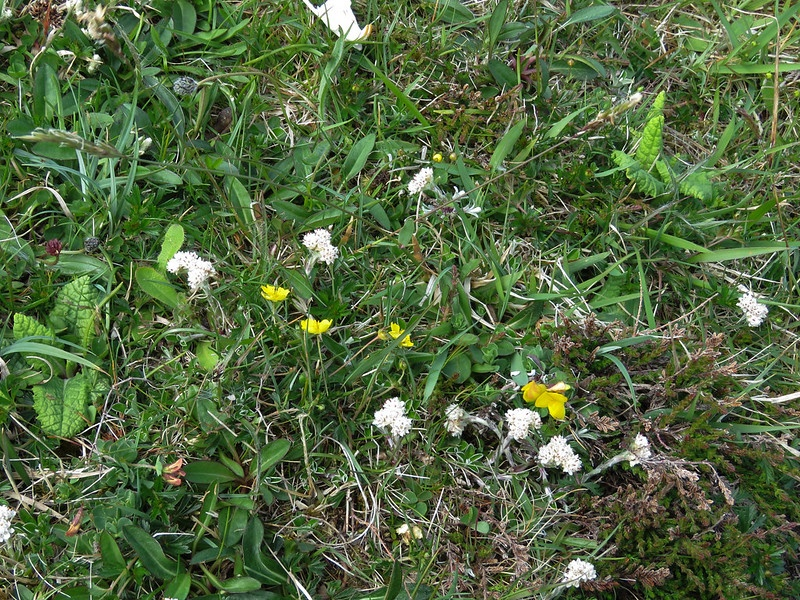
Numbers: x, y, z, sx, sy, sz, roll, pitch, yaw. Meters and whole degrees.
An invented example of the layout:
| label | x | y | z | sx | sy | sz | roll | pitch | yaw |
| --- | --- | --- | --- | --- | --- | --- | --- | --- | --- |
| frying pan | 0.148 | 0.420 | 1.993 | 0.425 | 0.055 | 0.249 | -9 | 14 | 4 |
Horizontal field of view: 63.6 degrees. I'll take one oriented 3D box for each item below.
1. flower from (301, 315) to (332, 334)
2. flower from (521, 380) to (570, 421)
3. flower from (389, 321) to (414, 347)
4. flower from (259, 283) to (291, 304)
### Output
| label | x | y | z | sx | sy | sz | roll | pitch | yaw |
| --- | --- | --- | --- | --- | --- | --- | --- | --- | --- |
| flower | -0.302 | 0.090 | 2.262 | 0.082 | 0.081 | 0.050 | 6 | 105 | 2 |
| flower | 0.510 | 0.333 | 2.294 | 0.155 | 0.076 | 0.139 | 24 | 104 | 6 |
| flower | 0.009 | 0.137 | 2.463 | 0.096 | 0.097 | 0.077 | 26 | 64 | 9 |
| flower | -0.441 | -0.002 | 2.298 | 0.090 | 0.051 | 0.088 | 2 | 25 | -35 |
